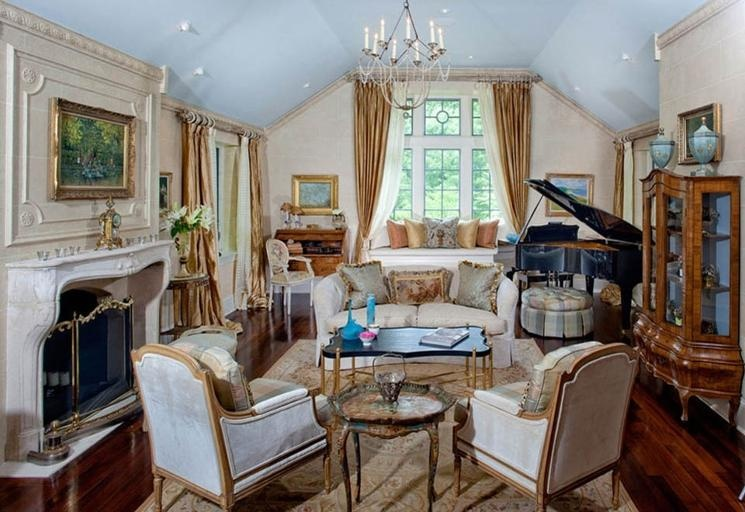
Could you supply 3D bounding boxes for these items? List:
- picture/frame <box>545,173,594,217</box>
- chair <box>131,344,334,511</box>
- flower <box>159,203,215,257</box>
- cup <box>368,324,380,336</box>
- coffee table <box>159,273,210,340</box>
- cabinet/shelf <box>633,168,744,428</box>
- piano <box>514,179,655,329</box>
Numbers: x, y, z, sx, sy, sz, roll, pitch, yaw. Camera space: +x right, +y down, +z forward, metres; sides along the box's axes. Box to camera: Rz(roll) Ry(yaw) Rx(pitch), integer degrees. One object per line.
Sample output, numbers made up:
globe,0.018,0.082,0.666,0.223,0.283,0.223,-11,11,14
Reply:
picture/frame,3.077,-0.994,8.231,0.913,0.938,0.071,0,-1,-4
chair,-1.128,1.064,4.109,1.089,1.599,1.244,3,8,35
flower,-2.237,-0.337,6.578,0.623,0.661,0.618,1,7,-11
cup,0.015,0.722,5.232,0.092,0.091,0.103,-1,-7,-1
coffee table,-2.256,0.570,6.554,0.641,0.760,0.674,0,7,-2
cabinet/shelf,2.811,0.337,4.827,0.504,2.274,0.913,-4,5,-20
piano,2.924,-0.061,7.523,1.956,2.279,1.590,-1,2,37
